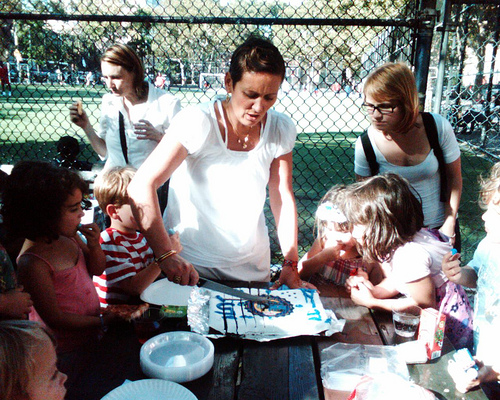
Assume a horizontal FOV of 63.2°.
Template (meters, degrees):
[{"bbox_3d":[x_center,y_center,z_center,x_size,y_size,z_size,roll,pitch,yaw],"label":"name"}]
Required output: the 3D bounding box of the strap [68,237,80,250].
[{"bbox_3d":[-0.945,0.234,2.203,0.041,0.056,0.055,44,17,25],"label":"strap"}]

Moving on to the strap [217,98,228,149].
[{"bbox_3d":[-0.151,-0.401,2.138,0.039,0.265,0.036,-3,-2,-2],"label":"strap"}]

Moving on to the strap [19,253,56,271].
[{"bbox_3d":[-1.030,0.303,1.970,0.149,0.101,0.027,-2,15,-8],"label":"strap"}]

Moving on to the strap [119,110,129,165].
[{"bbox_3d":[-1.039,-0.523,3.325,0.047,0.405,0.021,-13,0,-2],"label":"strap"}]

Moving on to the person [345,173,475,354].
[{"bbox_3d":[0.924,0.512,2.300,0.603,1.345,0.508,-13,6,0],"label":"person"}]

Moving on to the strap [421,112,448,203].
[{"bbox_3d":[1.269,-0.323,2.807,0.166,0.638,0.211,4,18,15],"label":"strap"}]
